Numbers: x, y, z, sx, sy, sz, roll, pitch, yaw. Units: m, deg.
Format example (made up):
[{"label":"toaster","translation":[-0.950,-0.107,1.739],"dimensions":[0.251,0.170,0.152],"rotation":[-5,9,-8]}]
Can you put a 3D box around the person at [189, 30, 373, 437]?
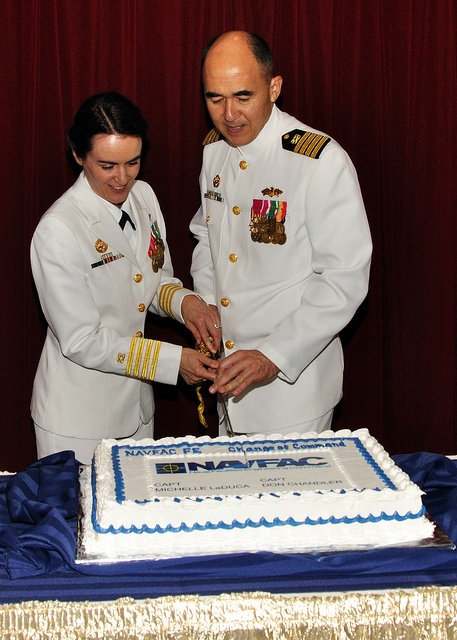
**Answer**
[{"label":"person","translation":[0.144,-0.246,2.034],"dimensions":[0.472,1.241,0.690],"rotation":[-4,17,-10]}]

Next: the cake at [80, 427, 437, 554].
[{"label":"cake","translation":[0.042,0.402,1.399],"dimensions":[0.462,0.097,0.328],"rotation":[0,12,-5]}]
